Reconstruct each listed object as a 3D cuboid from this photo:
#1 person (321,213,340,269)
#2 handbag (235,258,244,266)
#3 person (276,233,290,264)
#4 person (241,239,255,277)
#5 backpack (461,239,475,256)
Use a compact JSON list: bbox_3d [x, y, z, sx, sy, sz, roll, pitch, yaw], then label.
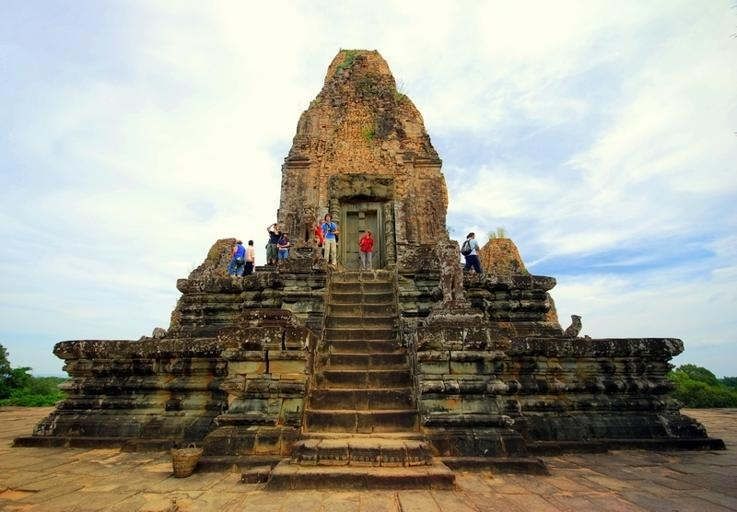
[{"bbox_3d":[-1.085,-0.457,11.462,0.440,1.691,1.033,2,-11,-7],"label":"person"},{"bbox_3d":[-3.993,0.207,12.362,0.256,0.229,0.217,-1,-55,-2],"label":"handbag"},{"bbox_3d":[-2.568,-0.315,11.984,0.340,1.032,1.125,3,-10,-14],"label":"person"},{"bbox_3d":[-3.554,0.055,11.781,0.263,1.093,0.541,4,-11,-16],"label":"person"},{"bbox_3d":[2.664,-0.211,10.212,0.317,0.443,0.566,-1,-10,11],"label":"backpack"}]
